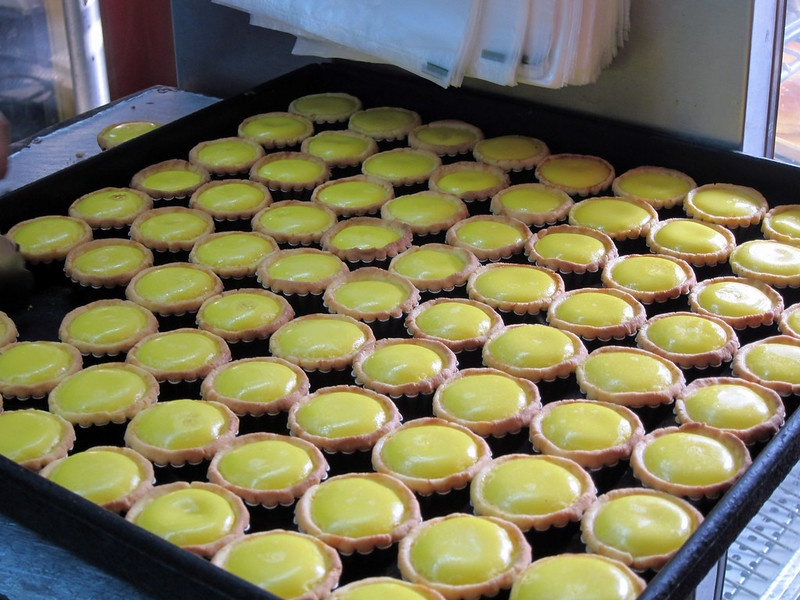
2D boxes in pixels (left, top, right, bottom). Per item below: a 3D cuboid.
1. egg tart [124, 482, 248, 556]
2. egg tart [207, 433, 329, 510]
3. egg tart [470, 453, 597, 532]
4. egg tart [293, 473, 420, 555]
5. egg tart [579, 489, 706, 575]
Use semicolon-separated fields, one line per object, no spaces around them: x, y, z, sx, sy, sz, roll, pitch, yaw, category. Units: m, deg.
-0.408;0.423;1.588;0.226;0.051;0.153;21;33;26;egg tart
-0.282;0.358;1.714;0.252;0.061;0.220;13;30;15;egg tart
0.285;0.382;1.657;0.258;0.048;0.214;-5;29;-19;egg tart
-0.089;0.424;1.625;0.255;0.061;0.194;4;30;-2;egg tart
0.457;0.438;1.559;0.181;0.057;0.200;23;34;29;egg tart
